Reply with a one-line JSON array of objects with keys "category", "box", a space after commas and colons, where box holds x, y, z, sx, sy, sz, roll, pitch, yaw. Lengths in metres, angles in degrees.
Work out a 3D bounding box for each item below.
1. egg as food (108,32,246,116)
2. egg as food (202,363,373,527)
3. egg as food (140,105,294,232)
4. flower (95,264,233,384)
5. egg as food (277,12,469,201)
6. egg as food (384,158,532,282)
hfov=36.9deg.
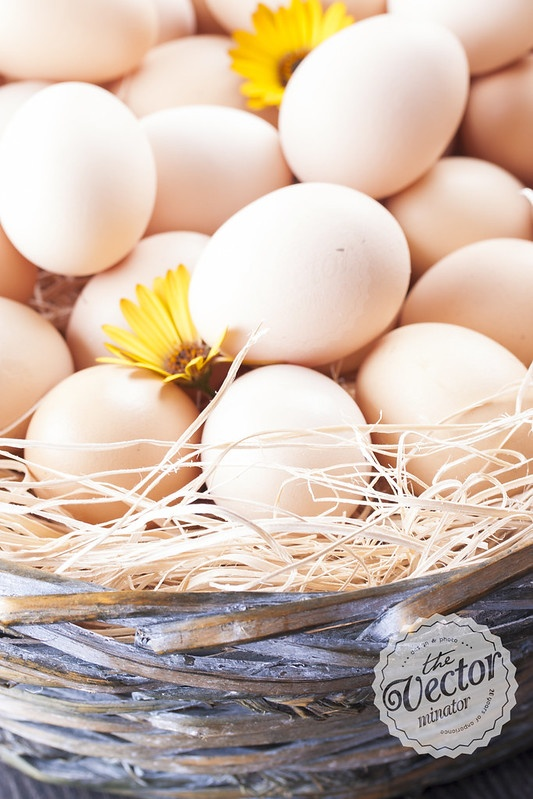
[{"category": "egg as food", "box": [-0.044, -0.159, 0.402, 0.059, 0.031, 0.037, -8, 3, -5]}, {"category": "egg as food", "box": [0.026, 0.024, 0.367, 0.073, 0.074, 0.067, 2, 24, 14]}, {"category": "egg as food", "box": [-0.025, -0.104, 0.386, 0.069, 0.059, 0.033, 4, 12, -3]}, {"category": "flower", "box": [-0.042, -0.030, 0.378, 0.062, 0.055, 0.029, 17, -13, 15]}, {"category": "egg as food", "box": [0.050, -0.140, 0.418, 0.092, 0.074, 0.054, -35, 1, -1]}, {"category": "egg as food", "box": [0.092, -0.089, 0.404, 0.078, 0.056, 0.060, -5, 4, 4]}]
